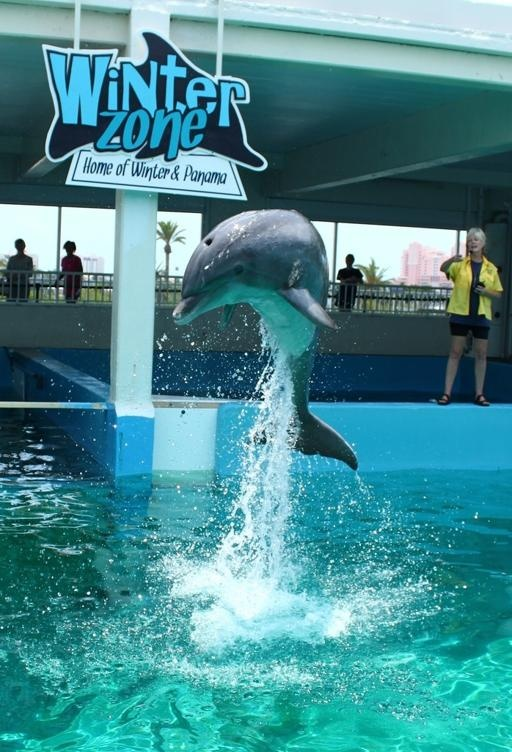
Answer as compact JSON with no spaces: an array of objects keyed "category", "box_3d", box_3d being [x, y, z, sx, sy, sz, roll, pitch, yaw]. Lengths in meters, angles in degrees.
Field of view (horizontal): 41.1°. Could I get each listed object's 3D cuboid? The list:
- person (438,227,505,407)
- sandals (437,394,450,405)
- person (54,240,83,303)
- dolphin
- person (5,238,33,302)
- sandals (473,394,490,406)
[{"category":"person","box_3d":[1.974,-0.578,6.294,0.683,1.630,0.495,6,-7,-13]},{"category":"sandals","box_3d":[1.705,0.217,6.216,0.067,0.072,0.186,-1,-3,20]},{"category":"person","box_3d":[-3.293,-1.883,12.168,0.429,1.121,0.882,1,5,-14]},{"category":"dolphin","box_3d":[0.072,-0.094,2.419,0.496,0.967,0.954,3,5,16]},{"category":"person","box_3d":[-4.077,-1.850,11.842,0.462,1.098,0.670,0,5,-20]},{"category":"sandals","box_3d":[2.051,0.214,6.204,0.121,0.092,0.266,4,5,19]}]
